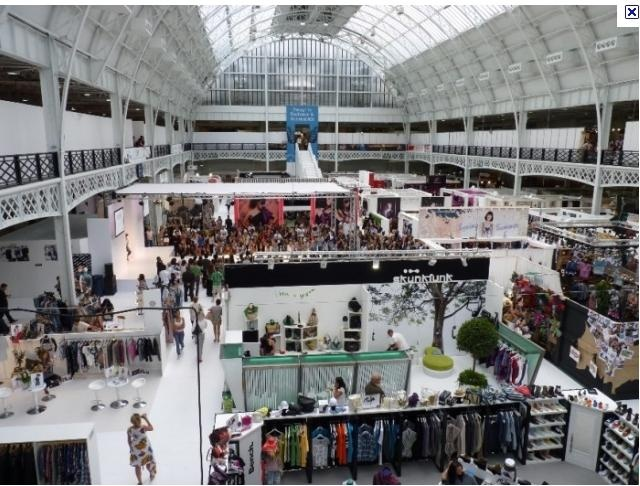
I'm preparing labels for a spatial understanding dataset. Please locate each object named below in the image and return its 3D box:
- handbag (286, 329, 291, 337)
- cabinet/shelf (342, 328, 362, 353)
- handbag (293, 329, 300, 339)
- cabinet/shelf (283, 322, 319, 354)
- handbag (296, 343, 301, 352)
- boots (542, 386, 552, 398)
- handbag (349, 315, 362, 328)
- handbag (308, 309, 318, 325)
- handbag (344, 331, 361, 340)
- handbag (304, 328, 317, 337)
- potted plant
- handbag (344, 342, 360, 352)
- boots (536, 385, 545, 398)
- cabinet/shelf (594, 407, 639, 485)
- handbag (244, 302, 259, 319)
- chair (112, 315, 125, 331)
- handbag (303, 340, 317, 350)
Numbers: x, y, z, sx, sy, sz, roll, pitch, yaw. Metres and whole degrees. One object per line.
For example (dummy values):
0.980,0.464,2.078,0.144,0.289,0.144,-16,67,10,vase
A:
-0.804,2.326,11.836,0.158,0.259,0.128,2,8,3,handbag
0.807,2.475,12.095,0.596,0.699,0.488,0,1,-3,cabinet/shelf
-0.577,2.366,11.823,0.190,0.214,0.052,3,-3,13,handbag
-0.507,2.433,11.864,0.694,0.691,0.250,-1,5,-9,cabinet/shelf
-0.533,2.727,11.922,0.121,0.207,0.045,4,-1,10,handbag
4.911,3.242,9.951,0.236,0.183,0.208,2,16,17,boots
0.936,2.025,11.878,0.268,0.299,0.154,2,13,6,handbag
-0.165,1.918,11.873,0.236,0.429,0.390,2,11,10,handbag
0.856,2.390,11.936,0.481,0.242,0.179,5,4,9,handbag
-0.220,2.328,11.907,0.218,0.256,0.237,3,-1,-13,handbag
3.732,2.691,11.037,1.119,2.075,1.184,-3,12,-6,potted plant
0.844,2.689,11.874,0.270,0.081,0.313,0,15,-1,handbag
4.763,3.233,9.992,0.134,0.261,0.247,0,0,-3,boots
6.090,4.154,9.427,0.724,1.488,0.480,0,3,37,cabinet/shelf
-1.709,1.742,11.808,0.447,0.572,0.311,1,-1,-9,handbag
-5.271,2.130,12.096,0.242,0.417,0.267,1,0,-7,chair
-0.224,2.675,11.985,0.148,0.204,0.474,-2,-8,30,handbag
